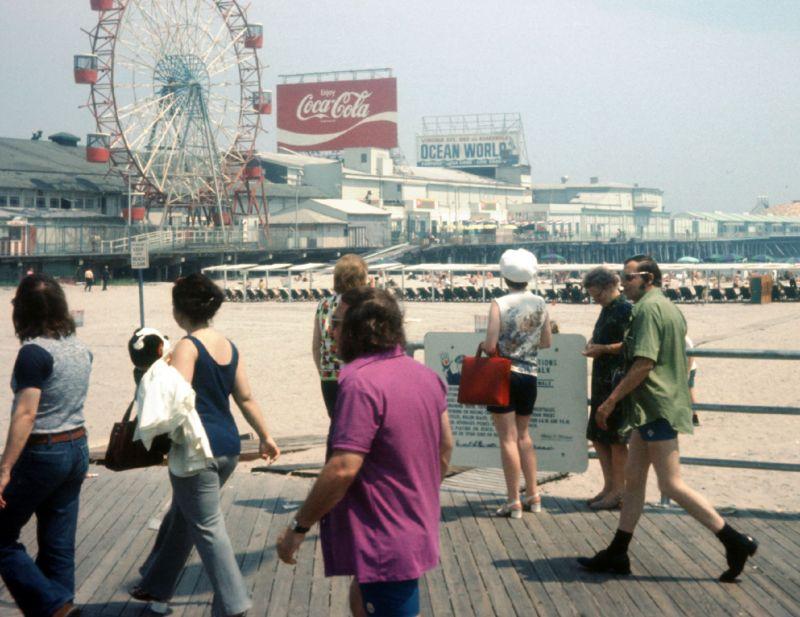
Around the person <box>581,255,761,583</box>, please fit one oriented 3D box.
[{"bbox_3d":[1.673,0.662,5.297,0.965,1.946,0.671,2,6,24],"label":"person"}]

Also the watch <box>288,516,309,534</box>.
[{"bbox_3d":[-0.468,1.000,3.895,0.083,0.069,0.096,-1,-7,12],"label":"watch"}]

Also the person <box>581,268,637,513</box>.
[{"bbox_3d":[1.560,0.588,6.410,0.381,1.793,0.621,1,-3,-9],"label":"person"}]

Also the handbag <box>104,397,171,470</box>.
[{"bbox_3d":[-1.490,0.755,4.711,0.252,0.405,0.481,-5,8,-40],"label":"handbag"}]

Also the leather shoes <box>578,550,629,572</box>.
[{"bbox_3d":[1.296,1.582,5.319,0.325,0.161,0.131,5,-2,12],"label":"leather shoes"}]

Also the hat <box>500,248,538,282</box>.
[{"bbox_3d":[0.852,-0.312,6.040,0.252,0.256,0.557,1,7,7],"label":"hat"}]

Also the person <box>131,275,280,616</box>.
[{"bbox_3d":[-1.147,0.777,4.879,0.707,1.956,0.589,1,6,11],"label":"person"}]

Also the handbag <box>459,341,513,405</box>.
[{"bbox_3d":[0.612,0.460,5.800,0.410,0.634,0.220,0,-7,14],"label":"handbag"}]
